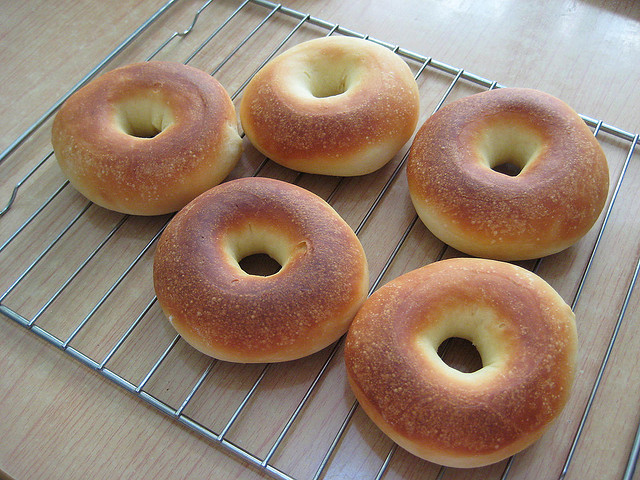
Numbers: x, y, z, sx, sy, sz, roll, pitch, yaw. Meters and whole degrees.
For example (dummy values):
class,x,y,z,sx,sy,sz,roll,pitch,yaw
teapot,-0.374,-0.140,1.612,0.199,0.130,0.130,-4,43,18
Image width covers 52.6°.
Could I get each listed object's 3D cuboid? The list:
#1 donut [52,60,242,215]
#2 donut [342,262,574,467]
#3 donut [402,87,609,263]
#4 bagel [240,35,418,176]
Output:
class,x,y,z,sx,sy,sz,roll,pitch,yaw
donut,-0.468,-0.272,1.740,0.455,0.198,0.531,-8,52,-15
donut,0.292,0.239,1.379,0.471,0.087,0.447,12,69,4
donut,0.451,-0.153,1.603,0.457,0.194,0.448,-20,70,-8
bagel,0.023,-0.367,1.690,0.460,0.111,0.382,10,69,3
